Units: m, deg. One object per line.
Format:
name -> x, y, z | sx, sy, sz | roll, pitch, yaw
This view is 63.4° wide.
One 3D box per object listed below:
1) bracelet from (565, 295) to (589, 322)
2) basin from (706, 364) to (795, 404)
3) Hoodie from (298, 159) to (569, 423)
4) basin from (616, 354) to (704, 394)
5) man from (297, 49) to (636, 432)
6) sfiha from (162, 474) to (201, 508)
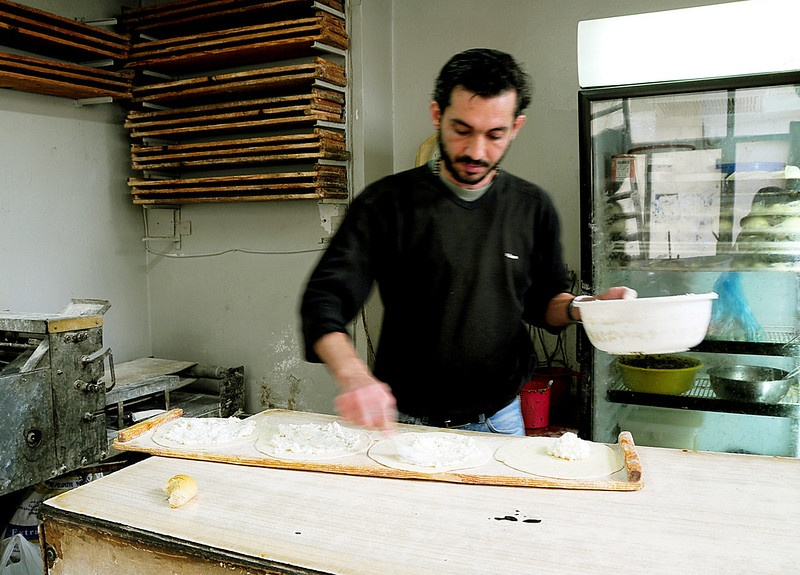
bracelet -> 0.717, 0.087, 2.671 | 0.109, 0.101, 0.123 | 1, 4, -5
basin -> 1.907, 0.535, 3.574 | 0.409, 0.149, 0.345 | 4, 8, 36
Hoodie -> 0.204, 0.034, 2.791 | 1.427, 1.052, 0.769 | 0, 13, -19
basin -> 1.493, 0.489, 3.690 | 0.373, 0.117, 0.301 | -1, -4, 10
man -> 0.168, -0.136, 2.689 | 1.160, 1.637, 0.562 | -5, 8, -28
sfiha -> -0.766, 0.710, 2.274 | 0.111, 0.093, 0.051 | -42, -11, -32
